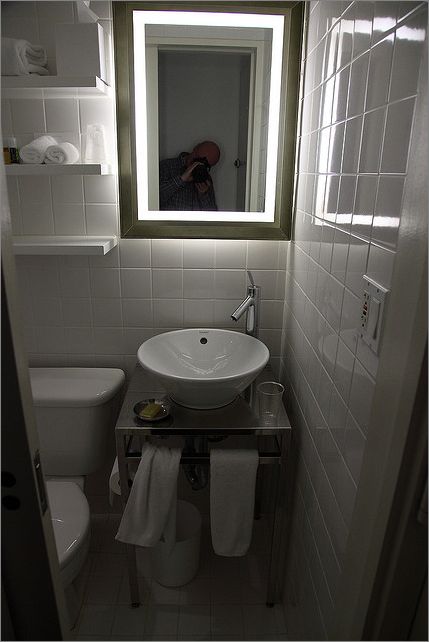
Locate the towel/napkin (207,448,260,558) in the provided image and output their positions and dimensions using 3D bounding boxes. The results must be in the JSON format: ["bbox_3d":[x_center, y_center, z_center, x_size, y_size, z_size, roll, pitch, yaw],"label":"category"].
[{"bbox_3d":[0.061,0.562,1.376,0.138,0.424,0.051,2,27,0],"label":"towel/napkin"}]

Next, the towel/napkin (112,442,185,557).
[{"bbox_3d":[-0.194,0.538,1.331,0.187,0.339,0.085,11,9,7],"label":"towel/napkin"}]

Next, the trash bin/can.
[{"bbox_3d":[-0.124,0.843,1.743,0.199,0.293,0.231,6,26,3],"label":"trash bin/can"}]

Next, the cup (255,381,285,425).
[{"bbox_3d":[0.169,0.248,1.354,0.084,0.135,0.099,1,9,-4],"label":"cup"}]

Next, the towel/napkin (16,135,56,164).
[{"bbox_3d":[-0.588,-0.578,1.463,0.086,0.047,0.117,2,58,-4],"label":"towel/napkin"}]

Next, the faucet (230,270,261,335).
[{"bbox_3d":[0.119,-0.063,1.602,0.089,0.240,0.307,2,15,7],"label":"faucet"}]

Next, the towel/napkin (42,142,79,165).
[{"bbox_3d":[-0.516,-0.567,1.483,0.094,0.084,0.183,0,16,-6],"label":"towel/napkin"}]

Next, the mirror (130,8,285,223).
[{"bbox_3d":[-0.023,-0.637,1.360,0.559,0.019,1.002,1,68,-4],"label":"mirror"}]
